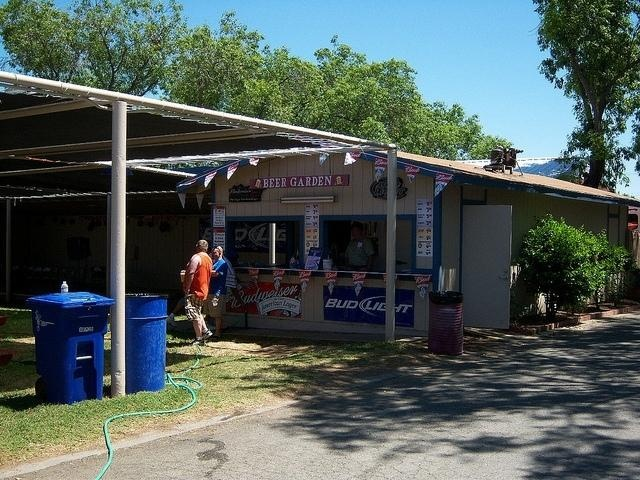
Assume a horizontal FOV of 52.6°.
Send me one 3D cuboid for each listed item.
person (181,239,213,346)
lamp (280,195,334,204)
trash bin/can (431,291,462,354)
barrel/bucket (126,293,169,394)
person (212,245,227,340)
[{"bbox_3d":[-2.439,1.086,12.966,0.614,2.101,0.505,-2,5,-31],"label":"person"},{"bbox_3d":[-0.285,-0.932,15.000,1.478,0.213,0.307,4,5,41],"label":"lamp"},{"bbox_3d":[2.300,1.526,11.815,0.604,1.126,0.361,1,4,8],"label":"trash bin/can"},{"bbox_3d":[-2.429,1.444,9.054,0.610,1.348,0.380,-1,5,-25],"label":"barrel/bucket"},{"bbox_3d":[-2.219,1.135,14.160,0.360,1.920,0.648,0,4,-8],"label":"person"}]
